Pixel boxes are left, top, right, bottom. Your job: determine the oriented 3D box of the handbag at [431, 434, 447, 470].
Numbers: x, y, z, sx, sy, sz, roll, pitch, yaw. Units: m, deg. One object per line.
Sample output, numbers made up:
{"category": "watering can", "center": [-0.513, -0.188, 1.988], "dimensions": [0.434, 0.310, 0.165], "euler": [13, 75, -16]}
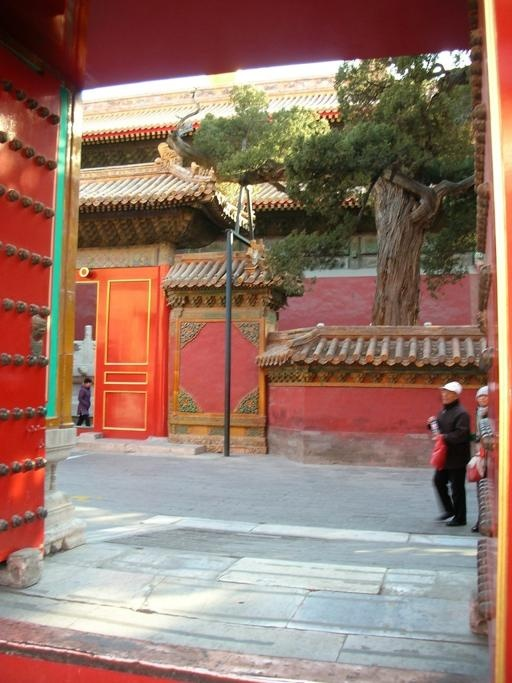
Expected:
{"category": "handbag", "center": [1.602, 0.977, 5.258], "dimensions": [0.129, 0.315, 0.195], "euler": [0, -5, -8]}
